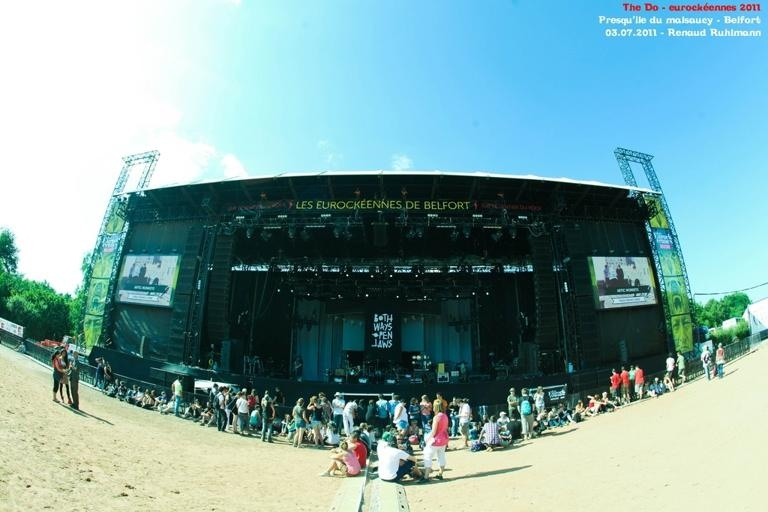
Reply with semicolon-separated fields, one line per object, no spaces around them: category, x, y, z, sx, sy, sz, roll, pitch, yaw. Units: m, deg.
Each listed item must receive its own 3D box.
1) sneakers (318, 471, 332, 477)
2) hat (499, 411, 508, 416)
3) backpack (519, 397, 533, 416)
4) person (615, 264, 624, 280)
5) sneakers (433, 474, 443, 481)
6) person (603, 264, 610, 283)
sneakers;-2.251;8.421;18.475;0.441;0.115;0.202;-2;6;-3
hat;5.404;7.218;21.693;0.364;0.091;0.373;-5;-3;14
backpack;6.381;6.776;21.526;0.778;0.903;0.489;0;-11;9
person;14.703;1.026;29.891;0.657;0.874;0.253;-5;7;-29
sneakers;2.056;8.402;18.159;0.156;0.150;0.345;7;-13;-20
person;13.727;1.001;29.493;0.553;1.020;0.282;-6;8;-39
